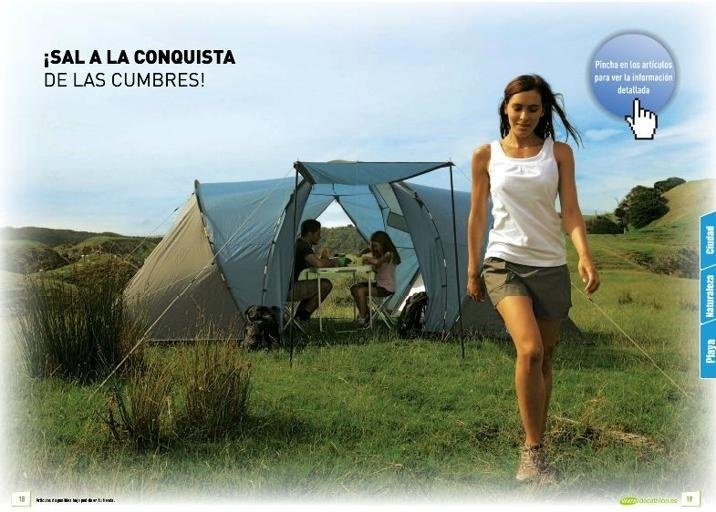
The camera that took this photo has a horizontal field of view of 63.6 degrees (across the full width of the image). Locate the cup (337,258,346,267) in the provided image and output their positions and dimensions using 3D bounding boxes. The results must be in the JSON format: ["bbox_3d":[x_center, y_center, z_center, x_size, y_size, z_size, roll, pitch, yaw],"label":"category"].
[{"bbox_3d":[-0.247,0.088,8.697,0.112,0.120,0.216,2,1,-3],"label":"cup"}]

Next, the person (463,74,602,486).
[{"bbox_3d":[1.295,0.152,4.340,0.920,2.980,0.880,1,8,11],"label":"person"}]

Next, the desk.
[{"bbox_3d":[-0.289,0.559,9.498,1.026,0.880,1.830,-2,3,-1],"label":"desk"}]

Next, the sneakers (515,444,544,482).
[{"bbox_3d":[1.248,1.456,4.176,0.163,0.189,0.337,4,26,33],"label":"sneakers"}]

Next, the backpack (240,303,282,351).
[{"bbox_3d":[-1.282,0.936,7.659,0.375,0.237,0.594,0,22,-7],"label":"backpack"}]
